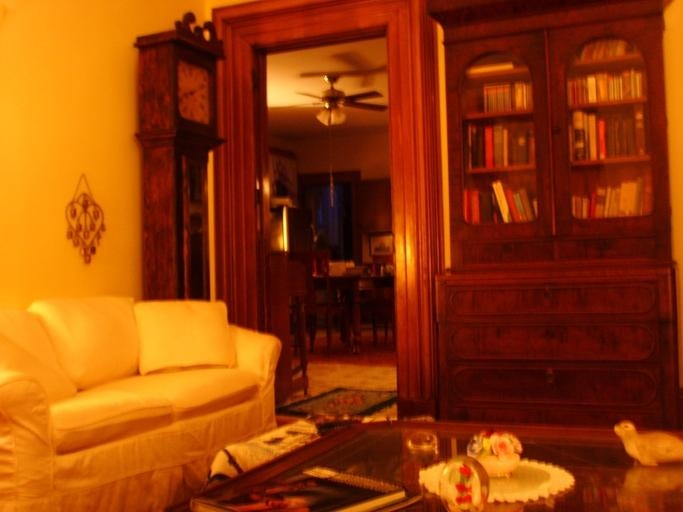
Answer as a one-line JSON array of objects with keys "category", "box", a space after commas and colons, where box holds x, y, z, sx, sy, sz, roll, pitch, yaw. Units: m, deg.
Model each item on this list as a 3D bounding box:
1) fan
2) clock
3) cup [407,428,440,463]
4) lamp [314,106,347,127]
[{"category": "fan", "box": [-0.050, -2.061, 7.923, 0.665, 0.298, 0.752, 4, 6, 24]}, {"category": "clock", "box": [-1.028, -0.626, 4.076, 0.553, 1.668, 0.310, -3, 2, -17]}, {"category": "cup", "box": [0.283, 0.645, 2.154, 0.080, 0.063, 0.080, -1, -1, 0]}, {"category": "lamp", "box": [-0.152, -1.769, 7.919, 0.381, 0.444, 0.400, 3, 14, 9]}]
